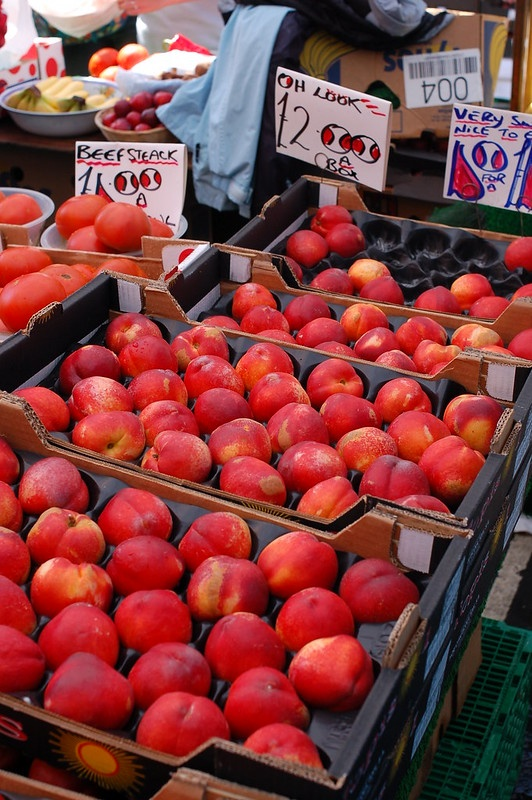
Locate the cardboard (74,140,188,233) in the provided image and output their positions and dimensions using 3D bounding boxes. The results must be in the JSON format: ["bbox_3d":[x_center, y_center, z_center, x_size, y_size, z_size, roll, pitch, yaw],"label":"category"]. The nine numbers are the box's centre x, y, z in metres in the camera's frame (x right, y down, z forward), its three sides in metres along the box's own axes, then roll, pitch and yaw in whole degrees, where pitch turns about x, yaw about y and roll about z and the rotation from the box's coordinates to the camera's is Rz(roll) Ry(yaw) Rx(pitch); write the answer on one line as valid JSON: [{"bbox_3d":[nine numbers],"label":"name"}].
[{"bbox_3d":[-0.611,-0.966,2.610,0.483,0.496,0.065,12,30,9],"label":"cardboard"}]

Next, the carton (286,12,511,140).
[{"bbox_3d":[0.667,-1.758,3.085,1.065,0.742,0.603,9,30,16],"label":"carton"}]

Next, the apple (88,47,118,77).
[{"bbox_3d":[-1.384,-2.885,4.920,0.232,0.245,0.454,-1,19,-16],"label":"apple"}]

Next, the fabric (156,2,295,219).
[{"bbox_3d":[-0.218,-1.727,3.411,0.909,0.396,1.101,-31,58,-13],"label":"fabric"}]
